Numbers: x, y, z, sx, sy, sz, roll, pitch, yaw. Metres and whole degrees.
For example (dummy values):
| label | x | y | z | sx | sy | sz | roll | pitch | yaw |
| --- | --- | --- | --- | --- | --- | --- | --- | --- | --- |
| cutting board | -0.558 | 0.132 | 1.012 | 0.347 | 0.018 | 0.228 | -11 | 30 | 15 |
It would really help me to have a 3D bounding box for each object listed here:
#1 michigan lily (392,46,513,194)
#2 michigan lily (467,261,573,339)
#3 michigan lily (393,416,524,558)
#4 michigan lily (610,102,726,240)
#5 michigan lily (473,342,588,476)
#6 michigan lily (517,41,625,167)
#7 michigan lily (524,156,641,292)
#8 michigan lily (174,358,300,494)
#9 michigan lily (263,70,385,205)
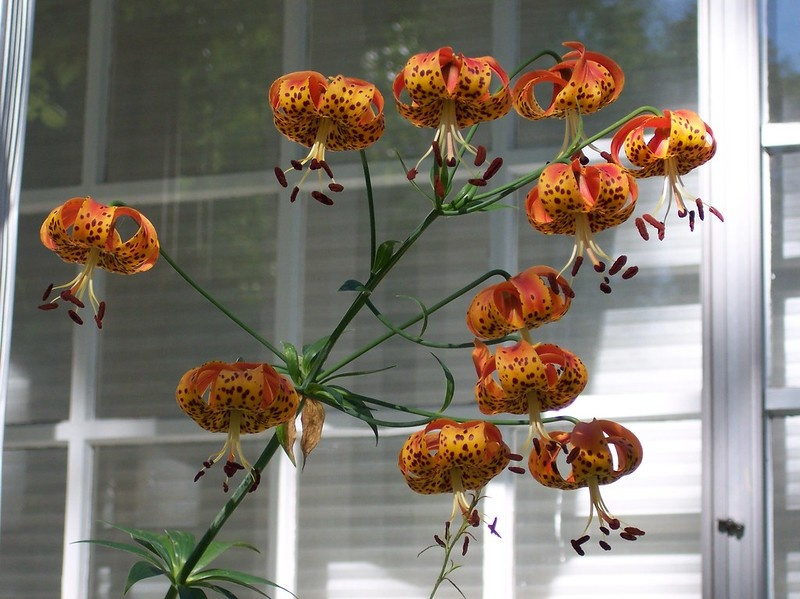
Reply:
| label | x | y | z | sx | sy | sz | roll | pitch | yaw |
| --- | --- | --- | --- | --- | --- | --- | --- | --- | --- |
| michigan lily | 0.115 | -0.373 | 5.047 | 0.242 | 0.273 | 0.262 | -2 | -12 | 1 |
| michigan lily | 0.257 | 0.014 | 4.961 | 0.163 | 0.106 | 0.167 | -22 | 4 | 4 |
| michigan lily | 0.167 | 0.381 | 5.027 | 0.200 | 0.206 | 0.219 | 21 | -16 | 6 |
| michigan lily | 0.583 | -0.257 | 5.049 | 0.217 | 0.240 | 0.211 | -1 | -13 | -28 |
| michigan lily | 0.279 | 0.184 | 5.011 | 0.202 | 0.220 | 0.214 | 5 | 15 | 40 |
| michigan lily | 0.381 | -0.419 | 5.050 | 0.194 | 0.217 | 0.202 | -6 | 5 | -32 |
| michigan lily | 0.394 | -0.148 | 5.001 | 0.214 | 0.235 | 0.227 | -4 | -24 | -3 |
| michigan lily | -0.347 | 0.263 | 5.034 | 0.250 | 0.271 | 0.267 | 1 | -4 | 43 |
| michigan lily | -0.167 | -0.345 | 5.045 | 0.257 | 0.276 | 0.246 | -5 | -24 | 36 |
